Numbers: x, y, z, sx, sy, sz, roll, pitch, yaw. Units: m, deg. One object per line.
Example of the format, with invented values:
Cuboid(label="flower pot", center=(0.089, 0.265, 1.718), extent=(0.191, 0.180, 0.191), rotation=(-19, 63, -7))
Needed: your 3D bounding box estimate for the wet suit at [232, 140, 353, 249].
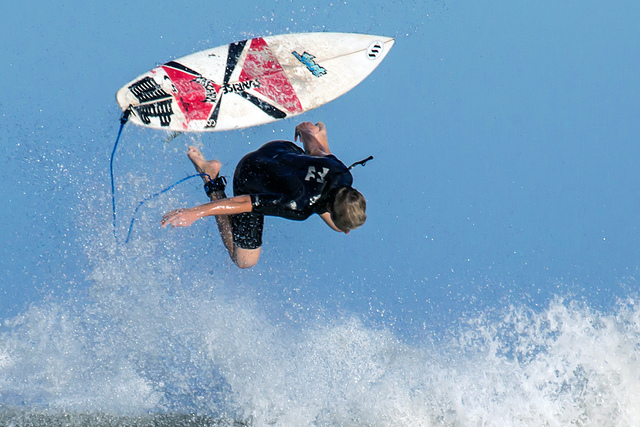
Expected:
Cuboid(label="wet suit", center=(-0.403, -0.499, 13.344), extent=(1.582, 0.752, 1.202), rotation=(0, 80, -3))
